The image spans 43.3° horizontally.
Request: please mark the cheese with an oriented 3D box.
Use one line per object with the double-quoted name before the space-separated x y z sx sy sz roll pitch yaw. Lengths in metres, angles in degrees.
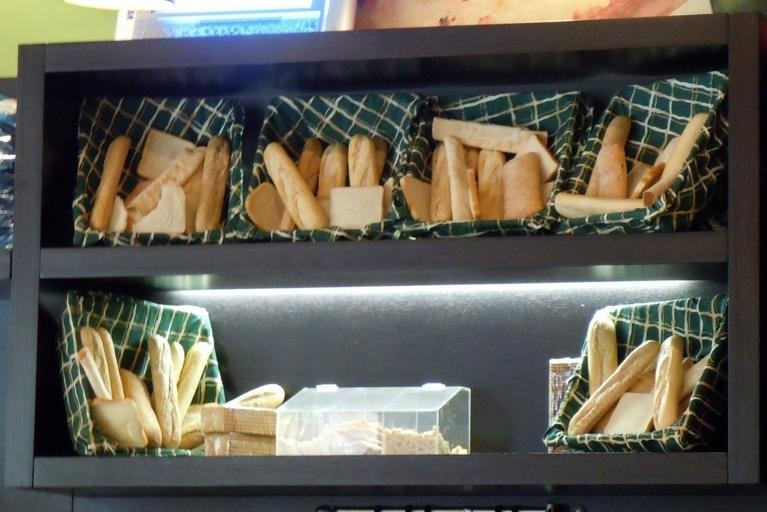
"cheese" 0.044 0.444 2.390 0.327 0.084 0.085 1 -2 -6
